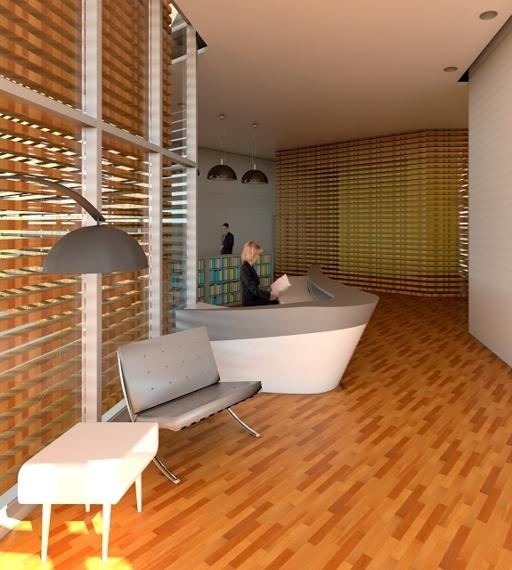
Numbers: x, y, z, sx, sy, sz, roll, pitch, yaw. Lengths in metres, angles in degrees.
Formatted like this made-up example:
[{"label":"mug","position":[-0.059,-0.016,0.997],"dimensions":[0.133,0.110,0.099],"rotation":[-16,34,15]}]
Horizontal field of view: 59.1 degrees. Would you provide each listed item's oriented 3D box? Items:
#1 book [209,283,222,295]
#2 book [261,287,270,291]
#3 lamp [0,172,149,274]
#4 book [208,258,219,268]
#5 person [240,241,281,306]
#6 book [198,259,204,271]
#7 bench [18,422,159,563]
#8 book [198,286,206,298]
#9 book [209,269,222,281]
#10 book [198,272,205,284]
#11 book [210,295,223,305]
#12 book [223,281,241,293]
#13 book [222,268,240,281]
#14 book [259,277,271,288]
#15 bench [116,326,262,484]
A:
[{"label":"book","position":[-0.762,0.079,8.705],"dimensions":[0.214,0.246,0.284],"rotation":[0,1,18]},{"label":"book","position":[0.205,0.081,10.313],"dimensions":[0.087,0.135,0.155],"rotation":[-2,4,-18]},{"label":"lamp","position":[-0.699,-0.234,1.948],"dimensions":[0.718,0.388,0.373],"rotation":[-2,0,16]},{"label":"book","position":[-0.806,-0.400,8.580],"dimensions":[0.191,0.214,0.247],"rotation":[0,1,24]},{"label":"person","position":[0.039,-0.100,4.963],"dimensions":[0.419,0.726,0.658],"rotation":[0,7,0]},{"label":"book","position":[-1.011,-0.366,8.321],"dimensions":[0.041,0.230,0.143],"rotation":[6,10,37]},{"label":"bench","position":[-0.877,1.020,2.270],"dimensions":[0.559,0.453,0.805],"rotation":[2,-6,2]},{"label":"book","position":[-1.023,0.151,8.424],"dimensions":[0.166,0.256,0.075],"rotation":[-6,10,-42]},{"label":"book","position":[-0.773,-0.171,8.615],"dimensions":[0.202,0.224,0.258],"rotation":[0,1,17]},{"label":"book","position":[-1.008,-0.111,8.343],"dimensions":[0.022,0.232,0.129],"rotation":[7,10,41]},{"label":"book","position":[-0.763,0.309,8.710],"dimensions":[0.181,0.212,0.250],"rotation":[-1,0,28]},{"label":"book","position":[-0.488,0.071,9.020],"dimensions":[0.285,0.321,0.370],"rotation":[2,4,17]},{"label":"book","position":[-0.494,-0.198,8.996],"dimensions":[0.281,0.314,0.362],"rotation":[0,0,28]},{"label":"book","position":[0.240,-0.044,10.488],"dimensions":[0.251,0.283,0.326],"rotation":[0,0,24]},{"label":"bench","position":[-0.461,0.754,3.104],"dimensions":[0.572,0.666,0.913],"rotation":[11,9,31]}]
